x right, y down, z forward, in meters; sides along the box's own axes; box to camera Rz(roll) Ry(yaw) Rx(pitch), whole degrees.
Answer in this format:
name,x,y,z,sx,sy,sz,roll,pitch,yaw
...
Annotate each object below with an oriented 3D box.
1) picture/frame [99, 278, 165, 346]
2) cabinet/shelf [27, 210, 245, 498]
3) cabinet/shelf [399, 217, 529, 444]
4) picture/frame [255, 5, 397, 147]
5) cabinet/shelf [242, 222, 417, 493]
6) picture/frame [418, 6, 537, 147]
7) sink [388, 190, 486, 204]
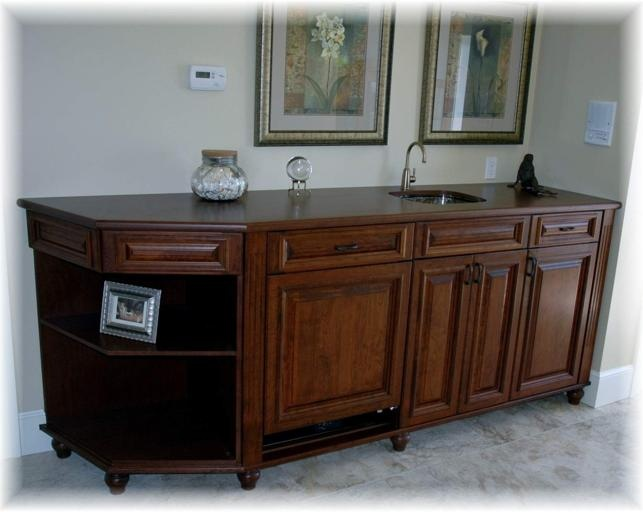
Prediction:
name,x,y,z,sx,sy,sz,roll,pitch,yaw
picture/frame,-0.775,0.234,2.126,0.250,0.201,0.020,8,-3,11
cabinet/shelf,-0.765,0.378,2.147,0.737,1.094,0.679,-8,17,-29
cabinet/shelf,0.574,0.327,2.686,0.667,0.920,0.543,-5,16,-25
picture/frame,-0.006,-0.901,2.570,0.726,0.689,0.055,-7,20,-23
cabinet/shelf,-0.081,0.318,2.472,0.889,1.164,0.646,-4,14,-34
picture/frame,0.838,-1.021,2.923,0.879,0.869,0.060,-6,20,-24
sink,0.590,-0.296,2.687,0.464,0.075,0.266,3,14,13
